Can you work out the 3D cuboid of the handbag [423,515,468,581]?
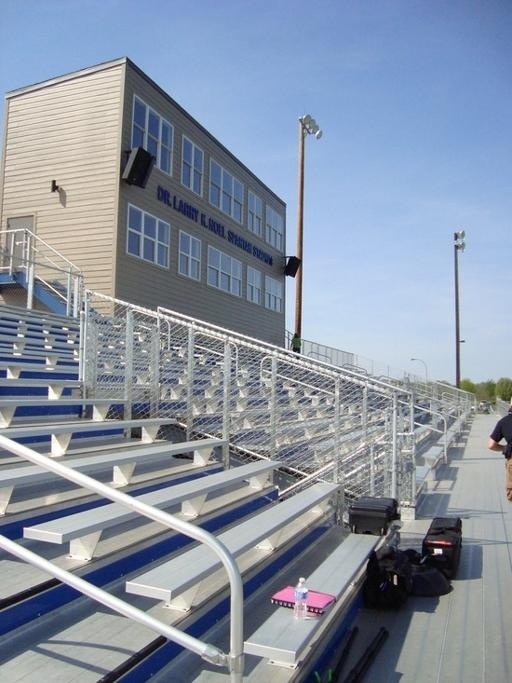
[{"bbox_3d":[1.559,1.684,4.508,0.239,0.248,0.684,-1,-3,26],"label":"handbag"}]

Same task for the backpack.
[{"bbox_3d":[0.921,1.651,3.793,0.257,0.456,0.337,0,-3,24],"label":"backpack"}]

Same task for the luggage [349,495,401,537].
[{"bbox_3d":[0.999,1.474,4.666,0.290,0.339,0.302,-1,-4,19],"label":"luggage"}]

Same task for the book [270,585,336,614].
[{"bbox_3d":[0.314,1.398,2.927,0.191,0.046,0.193,-1,-9,41],"label":"book"}]
